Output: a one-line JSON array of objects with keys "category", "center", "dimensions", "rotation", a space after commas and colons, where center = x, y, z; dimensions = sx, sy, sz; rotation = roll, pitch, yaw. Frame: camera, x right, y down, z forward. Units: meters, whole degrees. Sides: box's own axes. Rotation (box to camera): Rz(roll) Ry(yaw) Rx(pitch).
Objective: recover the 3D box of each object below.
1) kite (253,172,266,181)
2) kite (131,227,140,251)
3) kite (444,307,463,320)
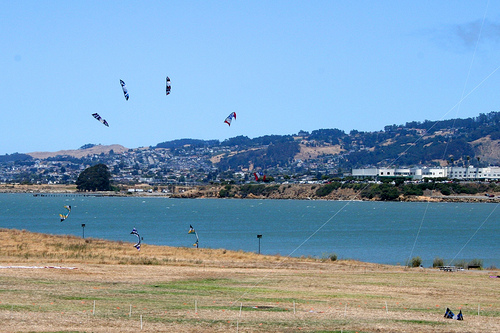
[{"category": "kite", "center": [4.044, 4.334, 469.475], "dimensions": [3.424, 3.766, 1.584], "rotation": [-2, -1, 4]}, {"category": "kite", "center": [-24.269, 15.293, 227.417], "dimensions": [2.106, 0.991, 5.556], "rotation": [-6, -35, -19]}, {"category": "kite", "center": [36.252, 25.986, 191.130], "dimensions": [2.374, 1.315, 2.410], "rotation": [4, 1, 43]}]
